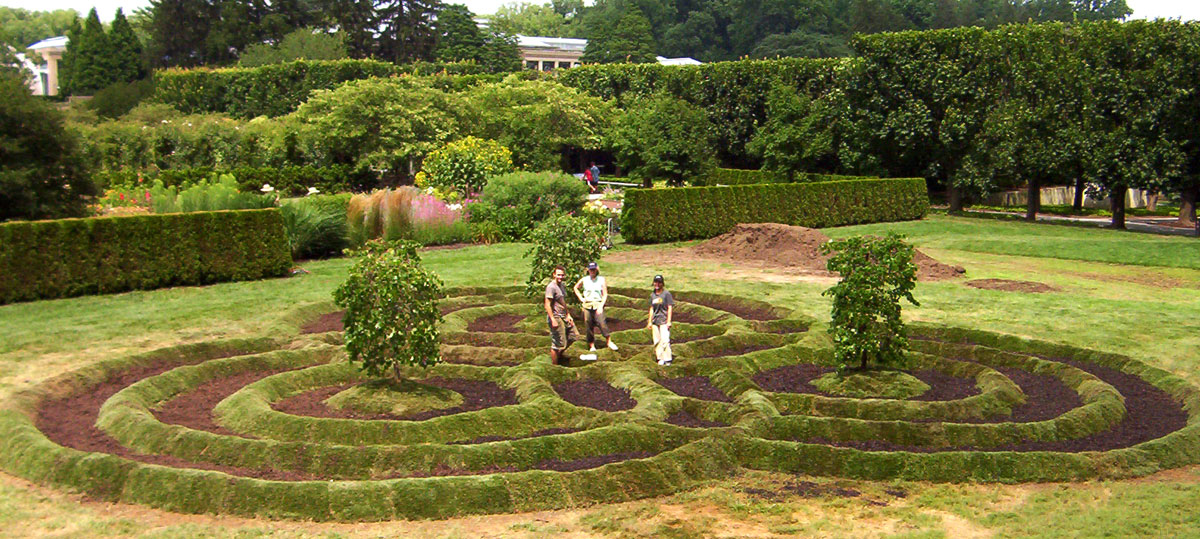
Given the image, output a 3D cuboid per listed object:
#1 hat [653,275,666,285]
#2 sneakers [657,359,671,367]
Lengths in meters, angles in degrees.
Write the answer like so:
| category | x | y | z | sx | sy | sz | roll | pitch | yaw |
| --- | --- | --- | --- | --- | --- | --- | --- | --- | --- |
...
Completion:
| category | x | y | z | sx | sy | sz | roll | pitch | yaw |
| --- | --- | --- | --- | --- | --- | --- | --- | --- | --- |
| hat | 2.617 | 0.406 | 42.518 | 0.439 | 0.269 | 0.570 | 1 | -1 | 17 |
| sneakers | 2.891 | 3.987 | 42.185 | 0.569 | 0.233 | 0.210 | 0 | 10 | 2 |
